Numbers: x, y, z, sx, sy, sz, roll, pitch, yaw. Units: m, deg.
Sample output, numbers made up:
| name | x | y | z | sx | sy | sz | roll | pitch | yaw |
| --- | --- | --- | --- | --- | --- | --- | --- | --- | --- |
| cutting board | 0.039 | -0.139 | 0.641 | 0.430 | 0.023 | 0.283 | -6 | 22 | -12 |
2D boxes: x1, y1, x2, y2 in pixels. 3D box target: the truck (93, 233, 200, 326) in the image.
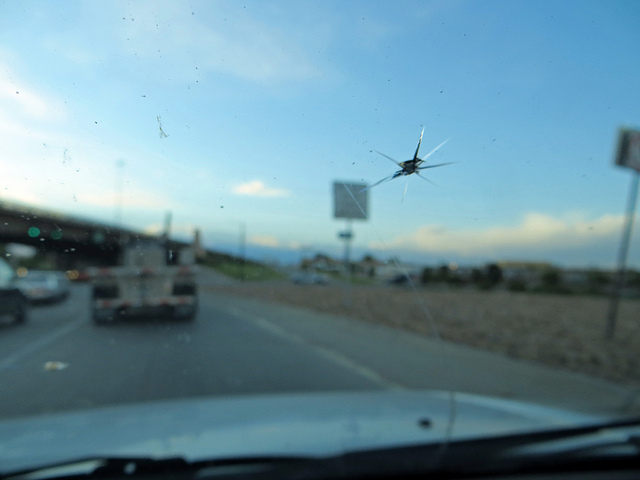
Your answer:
| name | x | y | z | sx | sy | sz | roll | pitch | yaw |
| --- | --- | --- | --- | --- | --- | --- | --- | --- | --- |
| truck | -5.200 | 1.508 | 16.123 | 2.789 | 2.376 | 4.768 | 0 | -16 | -17 |
